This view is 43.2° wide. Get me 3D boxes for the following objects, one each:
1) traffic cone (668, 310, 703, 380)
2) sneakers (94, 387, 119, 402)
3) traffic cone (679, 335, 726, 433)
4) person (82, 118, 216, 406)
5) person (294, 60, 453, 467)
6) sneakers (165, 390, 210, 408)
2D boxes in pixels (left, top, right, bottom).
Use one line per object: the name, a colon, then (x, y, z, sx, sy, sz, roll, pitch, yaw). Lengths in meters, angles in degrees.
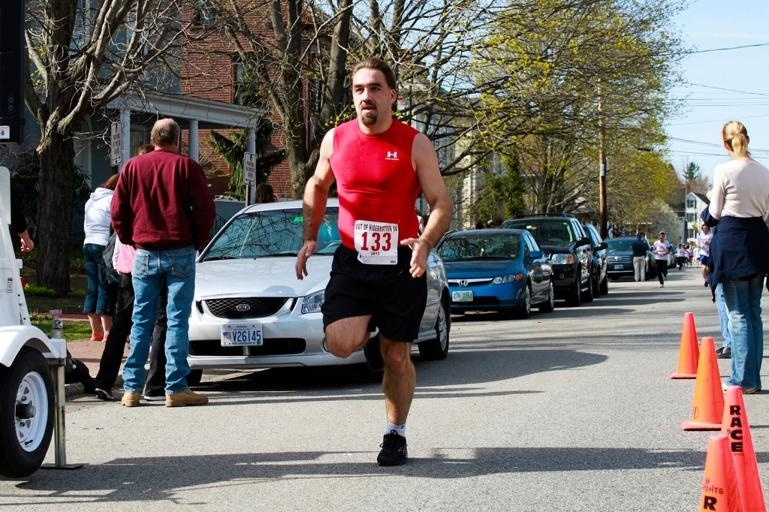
traffic cone: (3.707, 1.077, 11.843, 0.599, 0.754, 0.595, -2, -2, 33)
sneakers: (-3.153, 1.558, 10.969, 0.331, 0.115, 0.143, 22, 16, 34)
traffic cone: (3.104, 1.241, 9.507, 0.372, 0.835, 0.553, -2, -1, 20)
person: (-2.382, 0.067, 10.508, 1.112, 3.121, 0.412, -2, -1, -3)
person: (-0.053, 0.070, 8.254, 1.258, 2.630, 0.570, -2, -1, 7)
sneakers: (-2.168, 1.555, 10.675, 0.479, 0.207, 0.178, -3, 4, -25)
